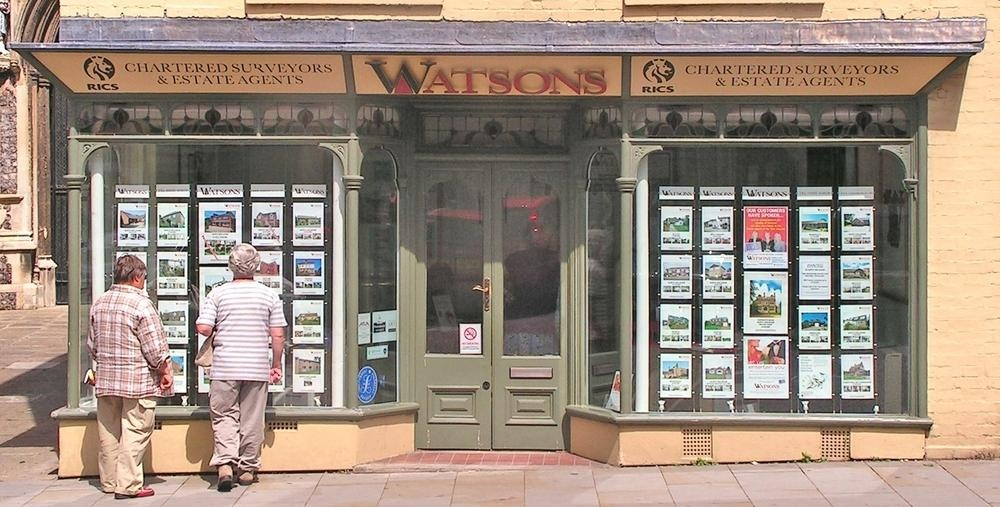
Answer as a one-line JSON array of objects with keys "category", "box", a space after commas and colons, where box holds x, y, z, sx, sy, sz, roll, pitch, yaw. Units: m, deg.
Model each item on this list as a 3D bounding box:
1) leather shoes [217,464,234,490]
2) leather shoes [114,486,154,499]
[{"category": "leather shoes", "box": [-4.194, 3.388, 20.899, 0.212, 0.403, 0.191, 7, 20, -16]}, {"category": "leather shoes", "box": [-5.534, 3.613, 20.769, 0.479, 0.127, 0.204, -2, 5, -13]}]
